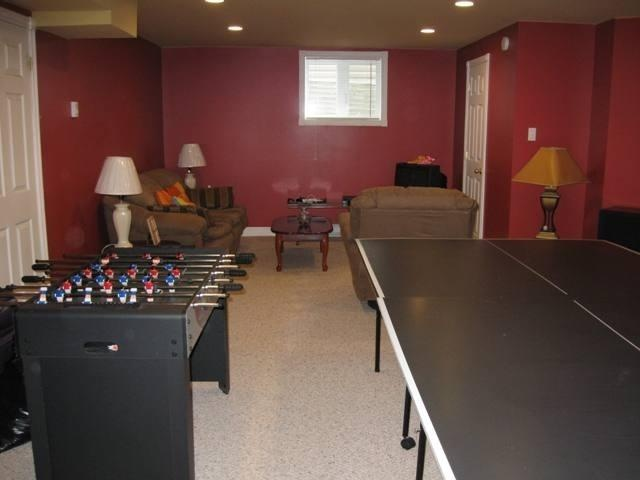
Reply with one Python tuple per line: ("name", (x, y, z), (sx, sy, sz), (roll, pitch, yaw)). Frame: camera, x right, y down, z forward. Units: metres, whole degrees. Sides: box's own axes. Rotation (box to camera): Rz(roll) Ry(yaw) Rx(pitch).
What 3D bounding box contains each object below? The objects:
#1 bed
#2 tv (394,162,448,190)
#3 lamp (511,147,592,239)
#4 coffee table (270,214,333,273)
("bed", (0.796, -0.087, 4.644), (1.000, 1.007, 1.032), (0, 12, 4))
("tv", (1.372, -0.885, 7.048), (0.558, 0.492, 0.604), (1, 13, 5))
("lamp", (1.976, -0.384, 4.374), (0.612, 0.820, 0.667), (-1, 9, -10))
("coffee table", (-0.226, 0.000, 6.069), (0.689, 0.605, 1.078), (0, 15, -3))
